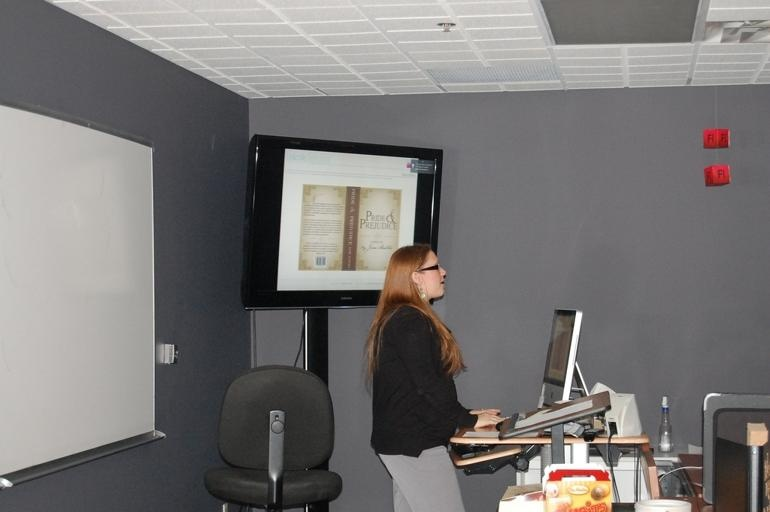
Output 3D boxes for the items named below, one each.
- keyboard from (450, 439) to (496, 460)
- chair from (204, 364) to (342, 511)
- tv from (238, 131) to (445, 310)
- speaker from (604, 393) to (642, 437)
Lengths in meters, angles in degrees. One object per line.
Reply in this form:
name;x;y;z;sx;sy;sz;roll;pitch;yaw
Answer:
keyboard;0.480;1.063;3.707;0.168;0.069;0.125;-2;-6;-4
chair;-0.627;1.219;4.667;0.840;1.061;0.904;1;-12;-1
tv;-0.321;-0.225;4.844;1.354;1.000;0.174;3;-4;-19
speaker;1.344;0.876;3.743;0.252;0.244;0.241;-1;-7;7
